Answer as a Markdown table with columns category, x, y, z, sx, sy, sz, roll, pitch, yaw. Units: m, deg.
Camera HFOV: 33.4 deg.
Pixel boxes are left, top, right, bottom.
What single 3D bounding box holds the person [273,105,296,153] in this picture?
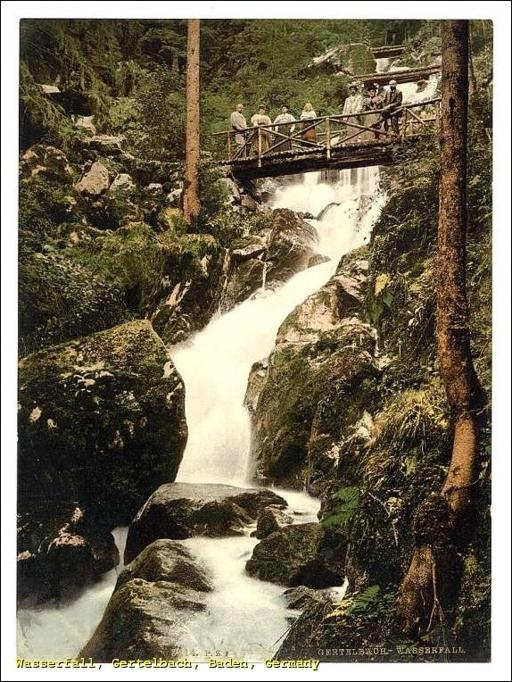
| category | x | y | z | sx | sy | sz | roll | pitch | yaw |
| --- | --- | --- | --- | --- | --- | --- | --- | --- | --- |
| person | 0.410 | -3.032 | 12.163 | 0.309 | 0.621 | 0.738 | -1 | 7 | 2 |

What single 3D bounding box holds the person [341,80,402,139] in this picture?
| category | x | y | z | sx | sy | sz | roll | pitch | yaw |
| --- | --- | --- | --- | --- | --- | --- | --- | --- | --- |
| person | 1.646 | -3.250 | 11.941 | 0.853 | 1.137 | 0.323 | -3 | -10 | 24 |
